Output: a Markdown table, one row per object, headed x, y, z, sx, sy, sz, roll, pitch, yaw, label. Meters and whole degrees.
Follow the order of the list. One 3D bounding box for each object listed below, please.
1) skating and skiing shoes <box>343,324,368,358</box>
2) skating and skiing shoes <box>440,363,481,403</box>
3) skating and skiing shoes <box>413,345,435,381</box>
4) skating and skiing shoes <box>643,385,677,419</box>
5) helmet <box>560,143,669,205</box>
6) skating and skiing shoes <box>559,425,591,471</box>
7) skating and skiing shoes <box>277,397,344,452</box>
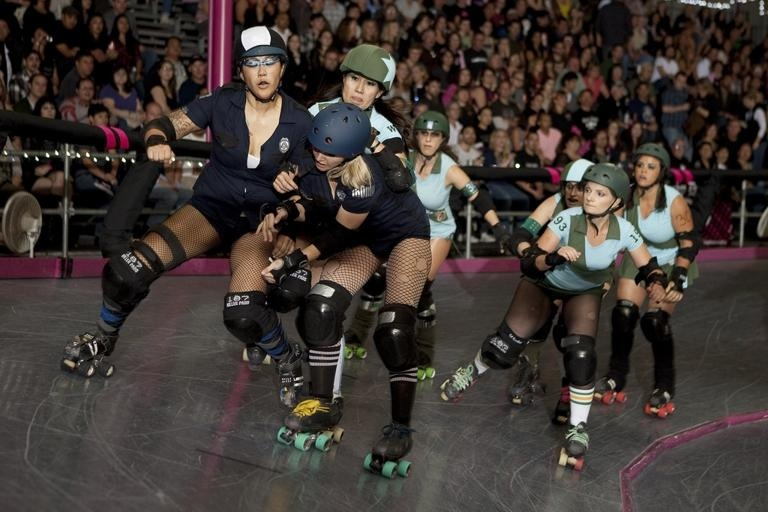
| x | y | z | sx | sy | sz | roll | pitch | yaw | label |
| --- | --- | --- | --- | --- | --- | --- | --- | --- | --- |
| -0.253 | 0.778 | 5.932 | 0.193 | 0.218 | 0.253 | 2 | 14 | -4 | skating and skiing shoes |
| 0.579 | 0.923 | 4.991 | 0.394 | 0.175 | 0.138 | -24 | 59 | -36 | skating and skiing shoes |
| 0.316 | 0.935 | 5.754 | 0.125 | 0.176 | 0.393 | -23 | -14 | 8 | skating and skiing shoes |
| 2.106 | 1.120 | 5.127 | 0.190 | 0.157 | 0.248 | 13 | 17 | 35 | skating and skiing shoes |
| 2.232 | -0.685 | 5.663 | 0.320 | 0.541 | 0.215 | 7 | 14 | 15 | helmet |
| 1.220 | 1.132 | 4.323 | 0.184 | 0.236 | 0.412 | 7 | 31 | 13 | skating and skiing shoes |
| -0.459 | 1.074 | 4.355 | 0.451 | 0.315 | 0.225 | -2 | 14 | -21 | skating and skiing shoes |
